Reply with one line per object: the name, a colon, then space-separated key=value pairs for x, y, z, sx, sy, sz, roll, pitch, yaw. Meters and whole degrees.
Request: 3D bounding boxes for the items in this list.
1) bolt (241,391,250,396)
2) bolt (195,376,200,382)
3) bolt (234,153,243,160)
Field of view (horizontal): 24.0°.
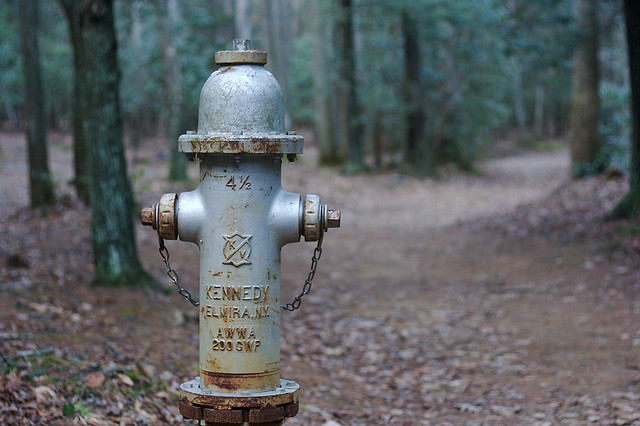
bolt: x=-0.745 y=1.803 z=14.930 sx=0.063 sy=0.046 sz=0.036 roll=0 pitch=3 yaw=-3
bolt: x=-1.243 y=1.690 z=15.244 sx=0.045 sy=0.054 sz=0.047 roll=-1 pitch=-9 yaw=21
bolt: x=-0.817 y=-0.552 z=14.867 sx=0.076 sy=0.056 sz=0.043 roll=0 pitch=4 yaw=0
